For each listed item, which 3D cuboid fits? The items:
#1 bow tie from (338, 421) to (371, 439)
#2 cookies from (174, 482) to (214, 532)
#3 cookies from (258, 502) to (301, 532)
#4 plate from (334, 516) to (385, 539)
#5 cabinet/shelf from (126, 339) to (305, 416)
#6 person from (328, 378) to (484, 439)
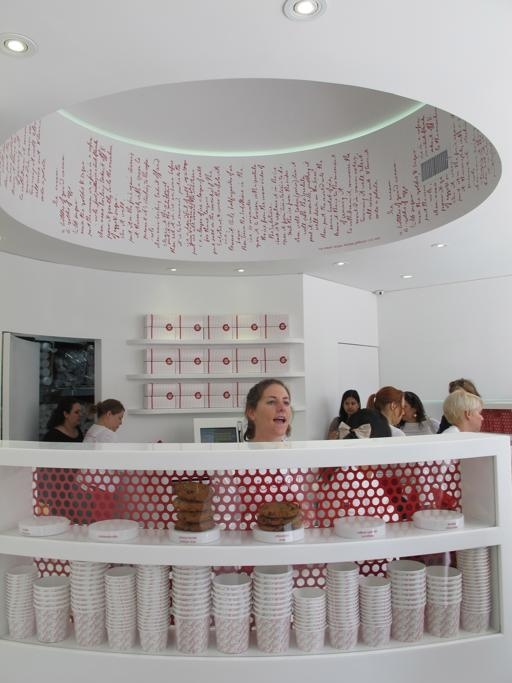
[{"bbox_3d":[0.558,0.519,3.324,0.060,0.135,0.152,16,-13,-40],"label":"bow tie"},{"bbox_3d":[-0.198,0.549,2.072,0.155,0.159,0.173,1,-3,-3],"label":"cookies"},{"bbox_3d":[0.076,0.586,2.041,0.108,0.047,0.104,0,-4,10],"label":"cookies"},{"bbox_3d":[0.361,0.643,2.108,0.172,0.042,0.187,0,6,7],"label":"plate"},{"bbox_3d":[-0.446,0.365,6.016,1.830,0.689,0.316,-1,-3,-6],"label":"cabinet/shelf"},{"bbox_3d":[1.188,0.531,4.786,0.816,0.469,0.418,1,-2,-12],"label":"person"}]
